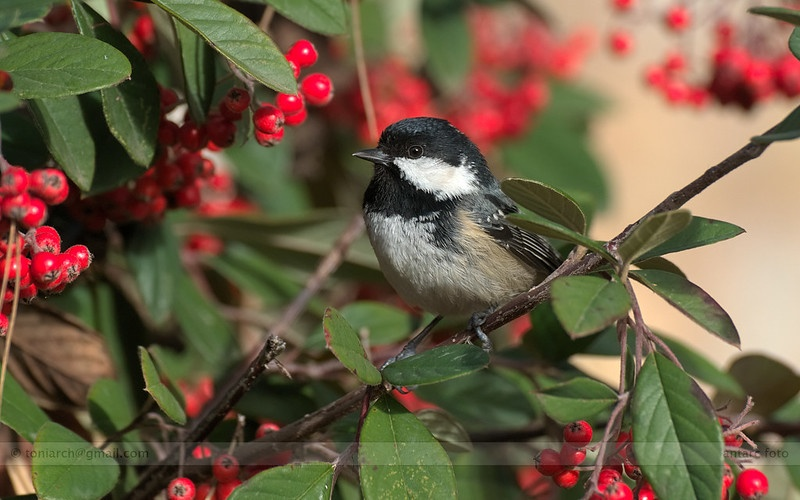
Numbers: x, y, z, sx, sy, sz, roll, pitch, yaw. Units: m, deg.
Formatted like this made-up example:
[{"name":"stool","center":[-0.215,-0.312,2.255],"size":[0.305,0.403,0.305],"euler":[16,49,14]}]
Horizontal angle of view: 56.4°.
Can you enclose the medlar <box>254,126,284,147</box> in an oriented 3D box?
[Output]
[{"name":"medlar","center":[-0.665,-0.579,3.772],"size":[0.135,0.112,0.111],"euler":[2,-60,-5]}]

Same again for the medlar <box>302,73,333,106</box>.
[{"name":"medlar","center":[-0.405,-0.836,3.870],"size":[0.168,0.180,0.172],"euler":[8,-75,6]}]

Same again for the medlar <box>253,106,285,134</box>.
[{"name":"medlar","center":[-0.640,-0.633,3.660],"size":[0.147,0.112,0.117],"euler":[16,-40,23]}]
